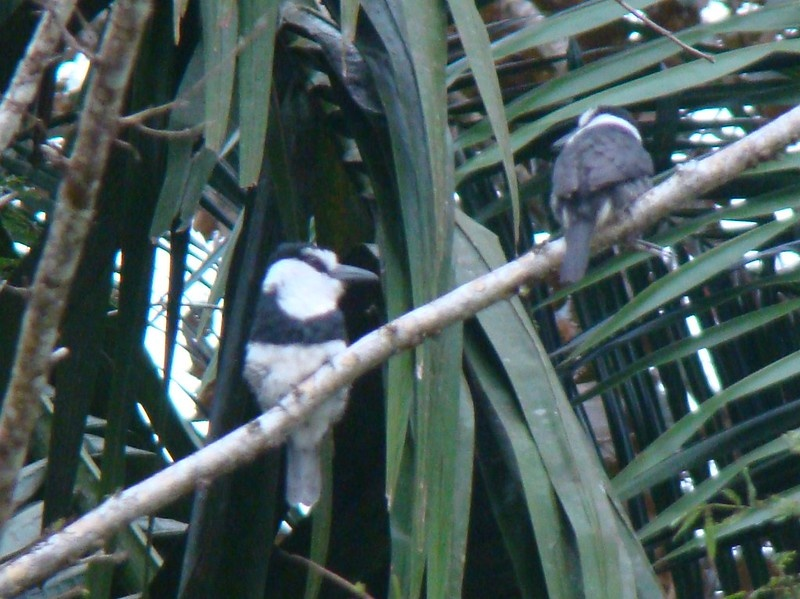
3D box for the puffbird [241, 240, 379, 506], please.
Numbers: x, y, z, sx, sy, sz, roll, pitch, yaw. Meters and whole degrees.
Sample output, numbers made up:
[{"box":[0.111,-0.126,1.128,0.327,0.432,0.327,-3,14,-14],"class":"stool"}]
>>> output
[{"box":[-0.346,0.185,5.720,0.338,1.229,0.470,3,4,-18],"class":"puffbird"}]
